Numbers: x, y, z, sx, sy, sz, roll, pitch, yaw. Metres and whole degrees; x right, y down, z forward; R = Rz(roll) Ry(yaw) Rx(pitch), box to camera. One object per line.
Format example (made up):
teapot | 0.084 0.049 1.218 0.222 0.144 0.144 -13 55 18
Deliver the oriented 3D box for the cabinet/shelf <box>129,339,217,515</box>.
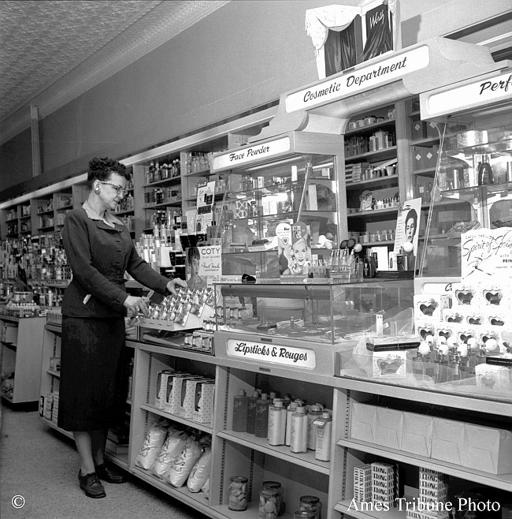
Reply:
cabinet/shelf | -0.531 1.092 3.027 0.319 0.886 0.950 10 -11 -41

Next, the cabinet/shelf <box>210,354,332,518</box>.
cabinet/shelf | 0.071 0.903 2.423 0.281 0.890 0.852 10 -11 -35

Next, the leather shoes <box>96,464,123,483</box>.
leather shoes | -1.033 1.514 3.349 0.221 0.107 0.092 2 -1 24

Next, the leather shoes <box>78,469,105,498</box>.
leather shoes | -1.096 1.475 3.166 0.089 0.116 0.255 3 -5 -35

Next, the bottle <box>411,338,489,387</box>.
bottle | 0.655 0.359 1.638 0.128 0.119 0.272 3 -3 -37
